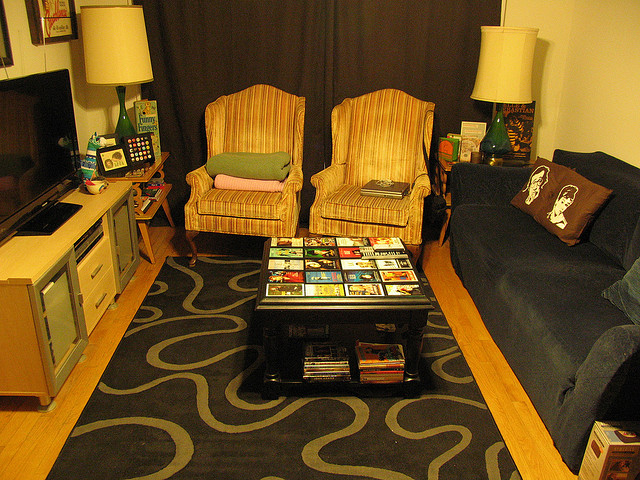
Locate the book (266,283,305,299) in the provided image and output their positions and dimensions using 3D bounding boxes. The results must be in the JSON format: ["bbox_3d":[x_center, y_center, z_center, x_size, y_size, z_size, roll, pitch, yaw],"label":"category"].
[{"bbox_3d":[-0.186,0.269,2.562,0.197,0.009,0.145,0,27,-3],"label":"book"}]

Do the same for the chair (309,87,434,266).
[{"bbox_3d":[0.482,-0.584,3.948,0.994,1.156,1.087,13,30,26],"label":"chair"}]

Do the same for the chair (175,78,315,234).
[{"bbox_3d":[-0.572,-0.676,3.976,0.944,1.142,0.970,7,24,14],"label":"chair"}]

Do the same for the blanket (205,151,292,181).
[{"bbox_3d":[-0.574,-0.677,4.187,0.691,0.233,0.711,4,14,7],"label":"blanket"}]

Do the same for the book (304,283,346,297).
[{"bbox_3d":[0.026,0.266,2.576,0.216,0.003,0.138,0,27,-3],"label":"book"}]
